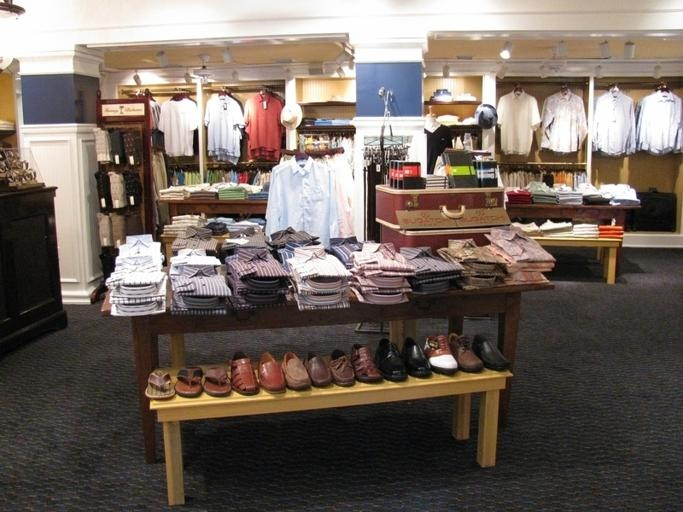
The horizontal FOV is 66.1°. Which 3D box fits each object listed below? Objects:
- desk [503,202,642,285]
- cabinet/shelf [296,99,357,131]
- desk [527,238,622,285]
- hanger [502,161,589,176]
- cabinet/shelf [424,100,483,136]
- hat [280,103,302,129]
[{"bbox_3d":[3.202,-0.311,7.877,1.579,0.838,1.388,0,3,6],"label":"desk"},{"bbox_3d":[-0.227,-2.333,8.642,0.896,0.436,0.733,-1,13,-1],"label":"cabinet/shelf"},{"bbox_3d":[3.199,0.005,7.014,0.900,0.589,0.557,6,15,25],"label":"desk"},{"bbox_3d":[3.555,-1.580,9.315,1.420,0.195,0.388,4,14,18],"label":"hanger"},{"bbox_3d":[1.879,-2.343,8.858,0.993,0.567,0.671,0,13,1],"label":"cabinet/shelf"},{"bbox_3d":[-0.799,-2.278,8.464,0.356,0.405,0.321,-2,14,-5],"label":"hat"}]
